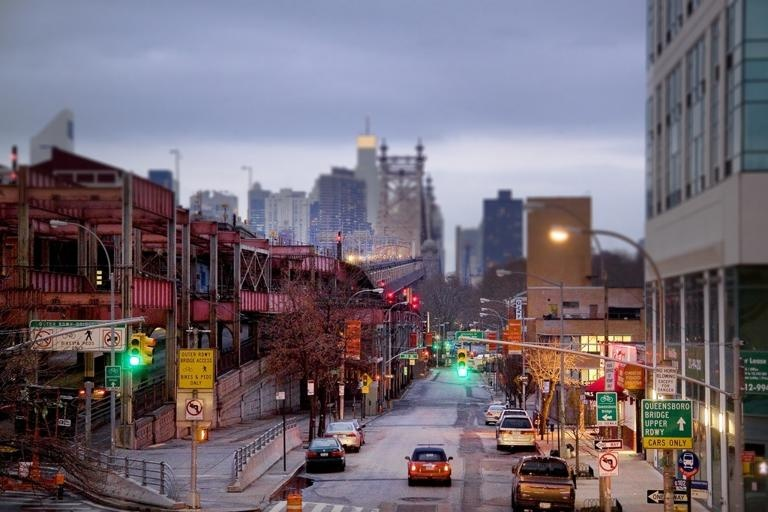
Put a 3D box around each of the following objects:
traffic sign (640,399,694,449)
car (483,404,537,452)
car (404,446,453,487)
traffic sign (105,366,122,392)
[{"bbox_3d":[14.213,8.501,58.067,2.424,2.476,0.566,-3,-5,7],"label":"traffic sign"},{"bbox_3d":[9.032,12.213,79.210,1.740,2.220,4.449,-1,-4,11],"label":"car"},{"bbox_3d":[2.647,12.331,67.363,2.438,2.212,1.272,-1,-6,-7],"label":"car"},{"bbox_3d":[-15.261,6.900,65.129,0.773,1.348,1.223,1,-7,-20],"label":"traffic sign"}]
